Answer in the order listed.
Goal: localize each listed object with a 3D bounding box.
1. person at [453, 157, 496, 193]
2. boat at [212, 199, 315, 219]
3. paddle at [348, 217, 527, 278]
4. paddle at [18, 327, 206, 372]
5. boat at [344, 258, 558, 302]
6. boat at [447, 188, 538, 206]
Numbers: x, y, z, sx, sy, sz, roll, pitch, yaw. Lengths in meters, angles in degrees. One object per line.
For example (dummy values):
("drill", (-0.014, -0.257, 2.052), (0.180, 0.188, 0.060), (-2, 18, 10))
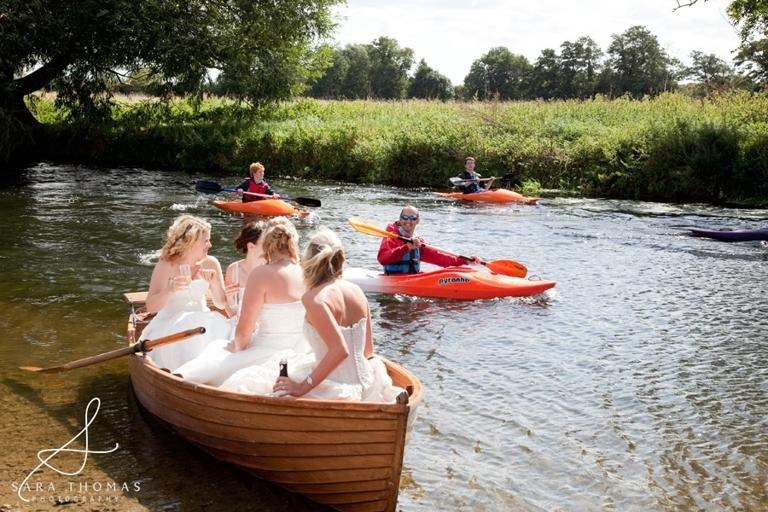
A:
("person", (2.437, -2.194, 20.582), (1.262, 0.584, 1.526), (-8, 36, -7))
("boat", (-3.244, -1.138, 17.547), (2.982, 0.498, 0.747), (3, 2, 19))
("paddle", (0.983, -0.136, 13.754), (3.767, 0.456, 0.246), (16, 40, 14))
("paddle", (-3.459, 1.202, 9.074), (2.597, 0.244, 0.238), (-9, 34, 24))
("boat", (1.129, 0.467, 12.355), (4.151, 0.565, 1.099), (1, 5, 4))
("boat", (2.842, -1.606, 19.881), (2.621, 0.335, 0.735), (2, 3, 19))
